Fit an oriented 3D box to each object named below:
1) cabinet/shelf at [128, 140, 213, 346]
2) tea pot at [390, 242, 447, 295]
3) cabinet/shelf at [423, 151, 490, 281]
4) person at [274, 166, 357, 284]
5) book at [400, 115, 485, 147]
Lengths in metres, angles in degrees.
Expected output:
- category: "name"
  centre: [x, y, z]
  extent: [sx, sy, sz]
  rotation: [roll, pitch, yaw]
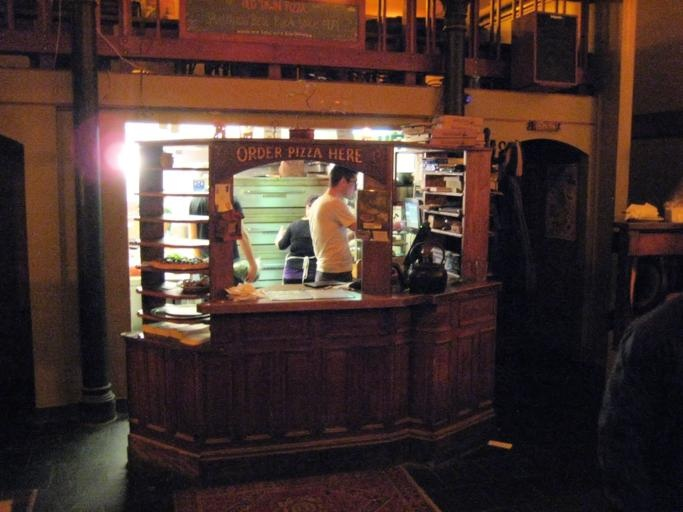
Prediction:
- category: "cabinet/shelf"
  centre: [-1.926, -0.362, 7.711]
  extent: [0.813, 2.168, 4.305]
  rotation: [-3, 15, -11]
- category: "tea pot"
  centre: [0.821, 0.104, 6.508]
  extent: [0.648, 0.497, 0.418]
  rotation: [-3, 7, -10]
- category: "cabinet/shelf"
  centre: [1.218, -0.448, 7.150]
  extent: [0.507, 1.545, 1.527]
  rotation: [0, 3, -6]
- category: "person"
  centre: [-0.335, -0.379, 8.054]
  extent: [0.688, 1.987, 0.829]
  rotation: [-21, 41, -31]
- category: "book"
  centre: [1.061, -1.228, 6.791]
  extent: [0.549, 0.227, 0.529]
  rotation: [-2, 9, -15]
